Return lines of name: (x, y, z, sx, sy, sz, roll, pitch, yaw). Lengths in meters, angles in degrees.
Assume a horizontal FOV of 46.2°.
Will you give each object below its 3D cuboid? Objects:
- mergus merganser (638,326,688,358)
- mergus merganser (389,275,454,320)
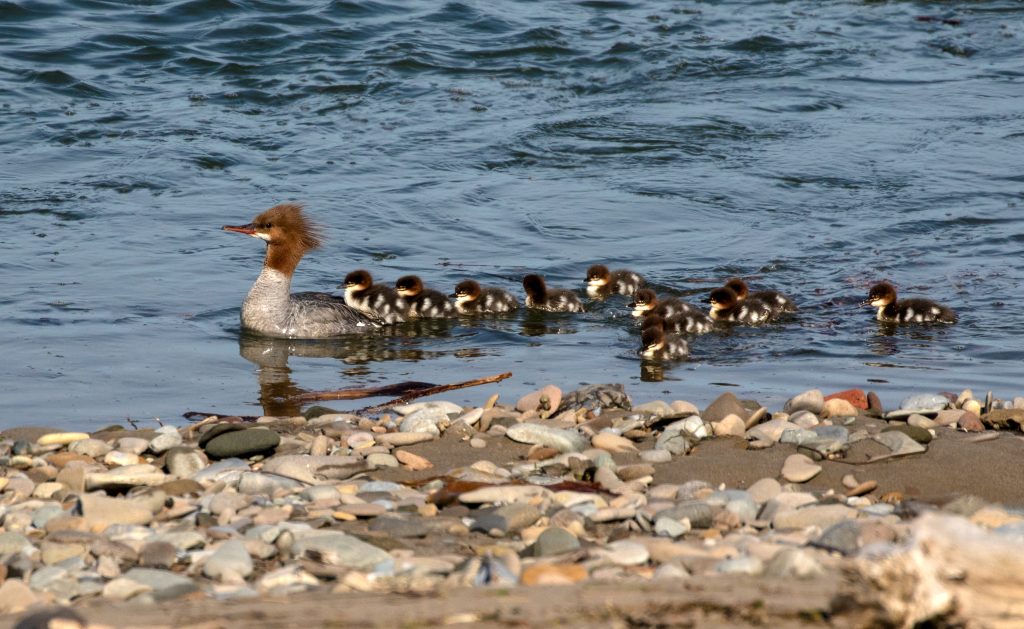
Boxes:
mergus merganser: (1.895, 0.363, 15.043, 0.653, 0.382, 0.356, -4, 9, -11)
mergus merganser: (-1.202, -0.231, 16.346, 0.812, 0.577, 0.273, -2, 11, 5)
